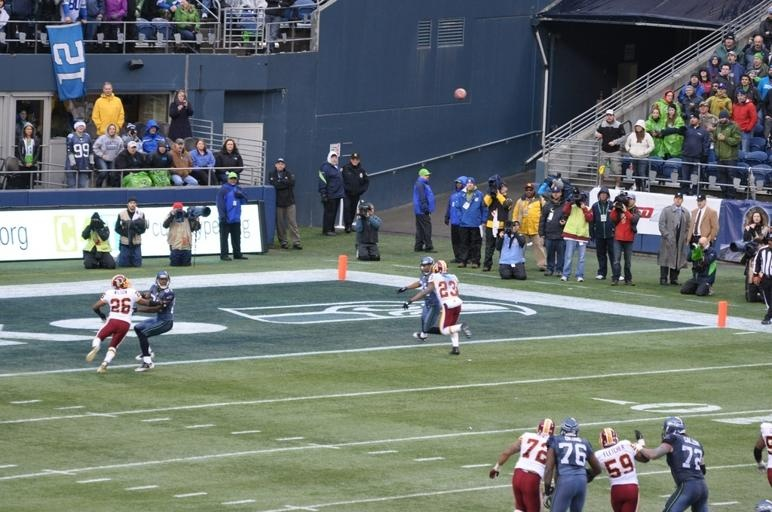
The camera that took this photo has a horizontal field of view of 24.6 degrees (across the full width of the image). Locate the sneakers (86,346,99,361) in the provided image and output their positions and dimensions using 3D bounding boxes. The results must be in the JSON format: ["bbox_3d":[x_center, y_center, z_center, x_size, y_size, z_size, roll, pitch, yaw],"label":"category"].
[{"bbox_3d":[-7.089,2.366,42.819,0.151,0.408,0.170,37,21,-4],"label":"sneakers"}]

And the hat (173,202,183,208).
[{"bbox_3d":[-6.105,-1.489,51.855,0.222,0.131,0.217,-2,2,-38],"label":"hat"}]

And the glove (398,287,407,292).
[{"bbox_3d":[0.422,0.837,44.675,0.145,0.079,0.192,-3,1,4],"label":"glove"}]

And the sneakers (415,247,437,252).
[{"bbox_3d":[1.262,-0.180,55.654,0.652,0.256,0.218,-3,-2,33],"label":"sneakers"}]

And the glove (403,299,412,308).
[{"bbox_3d":[0.567,1.248,46.423,0.324,0.152,0.542,-2,2,0],"label":"glove"}]

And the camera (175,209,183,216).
[{"bbox_3d":[-6.083,-1.248,52.102,0.147,0.245,0.246,1,2,14],"label":"camera"}]

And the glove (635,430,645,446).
[{"bbox_3d":[5.377,3.849,37.494,0.169,0.148,0.503,15,4,4],"label":"glove"}]

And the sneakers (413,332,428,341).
[{"bbox_3d":[0.865,2.044,45.444,0.151,0.154,0.368,-2,16,-23],"label":"sneakers"}]

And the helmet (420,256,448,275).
[{"bbox_3d":[1.197,0.241,44.414,0.611,0.287,0.402,4,5,28],"label":"helmet"}]

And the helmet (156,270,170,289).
[{"bbox_3d":[-5.289,0.575,42.615,0.366,0.378,0.444,-1,1,-19],"label":"helmet"}]

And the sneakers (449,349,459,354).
[{"bbox_3d":[1.743,2.379,44.429,0.247,0.164,0.337,1,2,2],"label":"sneakers"}]

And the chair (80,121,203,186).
[{"bbox_3d":[-7.641,-3.130,54.887,3.376,2.075,1.485,0,2,-18],"label":"chair"}]

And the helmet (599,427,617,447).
[{"bbox_3d":[4.613,3.720,36.215,0.358,0.441,0.425,1,-7,0],"label":"helmet"}]

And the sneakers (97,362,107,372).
[{"bbox_3d":[-6.815,2.670,42.564,0.066,0.193,0.188,28,-34,-26],"label":"sneakers"}]

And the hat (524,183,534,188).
[{"bbox_3d":[4.235,-2.069,52.119,0.313,0.138,0.429,2,6,10],"label":"hat"}]

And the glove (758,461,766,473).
[{"bbox_3d":[8.040,4.489,37.837,0.207,0.100,0.273,2,-26,4],"label":"glove"}]

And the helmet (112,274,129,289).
[{"bbox_3d":[-6.344,0.623,42.392,0.395,0.300,0.504,1,2,-9],"label":"helmet"}]

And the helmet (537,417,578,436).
[{"bbox_3d":[3.550,3.491,36.213,0.675,0.281,0.429,-1,1,6],"label":"helmet"}]
